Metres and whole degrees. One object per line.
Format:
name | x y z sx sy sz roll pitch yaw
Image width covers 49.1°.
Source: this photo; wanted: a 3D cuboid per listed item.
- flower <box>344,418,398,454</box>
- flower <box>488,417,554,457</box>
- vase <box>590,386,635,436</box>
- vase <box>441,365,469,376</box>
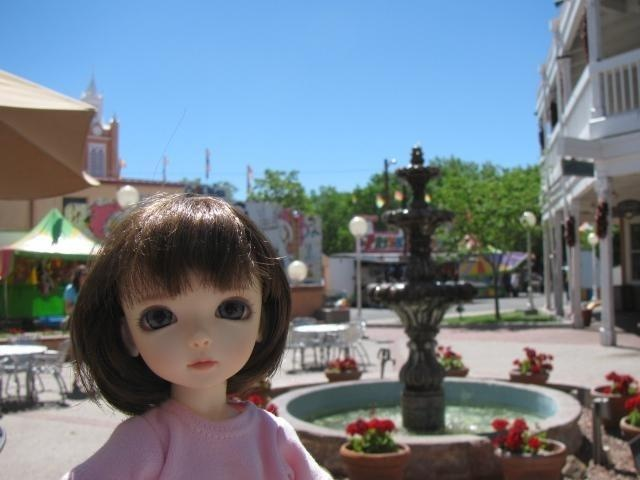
flower | 0.484 1.889 6.631 0.524 0.391 0.599 3 -4 4
flower | 1.806 1.832 6.538 0.311 0.247 0.422 3 0 -25
vase | 3.256 1.908 7.791 0.511 0.524 0.555 1 2 19
vase | 1.806 1.763 9.452 0.382 0.157 0.390 2 -10 -31
